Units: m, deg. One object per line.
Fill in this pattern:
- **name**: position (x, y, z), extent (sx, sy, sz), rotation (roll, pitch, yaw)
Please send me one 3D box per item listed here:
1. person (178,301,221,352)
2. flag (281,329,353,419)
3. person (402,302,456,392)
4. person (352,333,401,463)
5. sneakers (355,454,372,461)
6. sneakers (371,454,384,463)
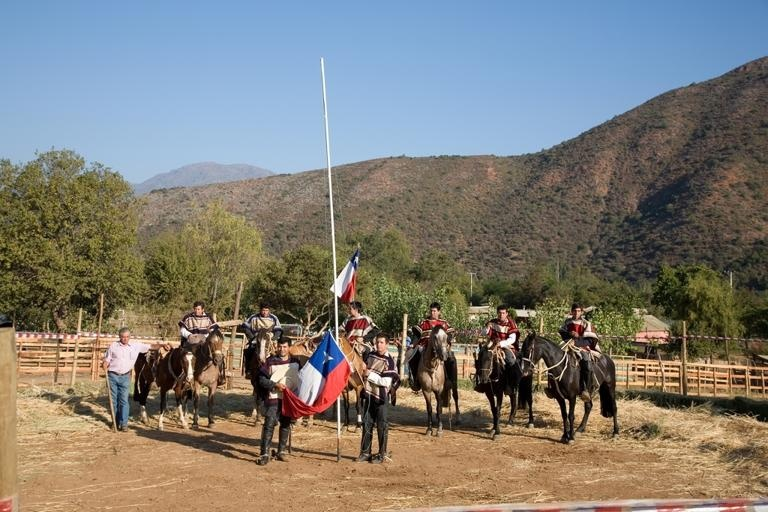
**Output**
- **person**: position (-6.408, 2.515, 23.095), extent (1.216, 1.728, 0.947), rotation (5, 13, -10)
- **flag**: position (-1.981, 3.285, 19.056), extent (2.076, 2.603, 0.399), rotation (-6, -45, 19)
- **person**: position (1.535, 3.065, 22.441), extent (1.364, 3.017, 1.130), rotation (4, -3, 11)
- **person**: position (-0.173, 4.156, 19.549), extent (1.097, 3.535, 1.321), rotation (1, 4, 1)
- **sneakers**: position (-0.563, 5.829, 19.186), extent (0.351, 0.158, 0.203), rotation (5, -2, -4)
- **sneakers**: position (-0.168, 5.815, 19.106), extent (0.324, 0.243, 0.221), rotation (1, 4, -3)
